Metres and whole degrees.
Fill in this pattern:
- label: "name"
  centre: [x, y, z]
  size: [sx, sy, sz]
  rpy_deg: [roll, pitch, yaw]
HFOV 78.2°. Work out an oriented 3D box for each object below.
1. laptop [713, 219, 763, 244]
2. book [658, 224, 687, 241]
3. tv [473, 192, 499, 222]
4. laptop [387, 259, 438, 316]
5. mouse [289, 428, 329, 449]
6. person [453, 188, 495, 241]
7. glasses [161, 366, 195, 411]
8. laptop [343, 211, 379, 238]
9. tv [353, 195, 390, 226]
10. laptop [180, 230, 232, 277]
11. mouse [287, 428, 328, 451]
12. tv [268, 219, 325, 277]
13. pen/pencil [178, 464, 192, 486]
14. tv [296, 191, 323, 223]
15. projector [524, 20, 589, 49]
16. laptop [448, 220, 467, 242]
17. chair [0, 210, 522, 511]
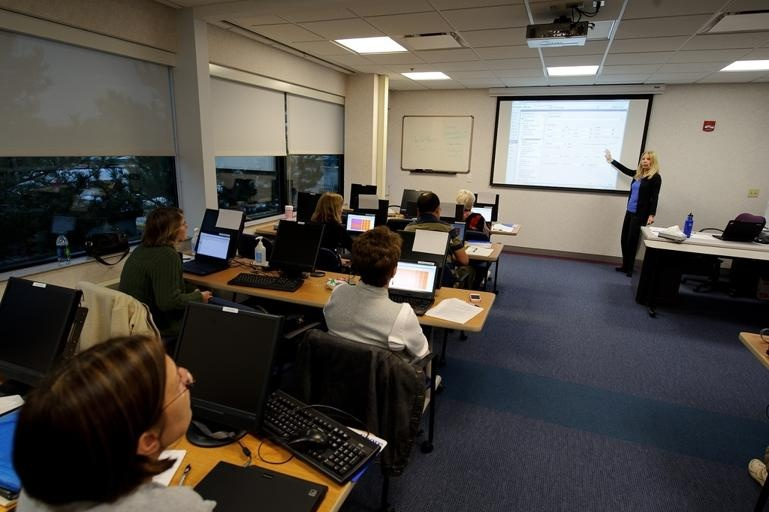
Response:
- label: "laptop"
  centre: [4.270, -0.290, 5.698]
  size: [0.342, 0.312, 0.251]
  rpy_deg: [11, 21, 17]
- label: "book"
  centre: [3.569, -0.291, 5.905]
  size: [0.318, 0.158, 0.338]
  rpy_deg: [12, 17, 34]
- label: "tv"
  centre: [1.448, -0.759, 7.160]
  size: [0.464, 0.544, 0.419]
  rpy_deg: [3, 8, 19]
- label: "laptop"
  centre: [0.254, 0.230, 4.003]
  size: [0.472, 0.351, 0.372]
  rpy_deg: [14, 26, 21]
- label: "mouse"
  centre: [-0.398, 0.982, 2.568]
  size: [0.175, 0.049, 0.094]
  rpy_deg: [3, 4, 6]
- label: "person"
  centre: [1.175, -0.577, 6.307]
  size: [0.506, 0.795, 0.615]
  rpy_deg: [9, 26, 31]
- label: "glasses"
  centre: [-0.944, 0.626, 2.219]
  size: [0.060, 0.135, 0.123]
  rpy_deg: [32, -13, -34]
- label: "laptop"
  centre: [-0.327, -0.424, 6.037]
  size: [0.494, 0.354, 0.306]
  rpy_deg: [9, 12, 25]
- label: "tv"
  centre: [-0.098, -0.475, 6.152]
  size: [0.528, 0.563, 0.374]
  rpy_deg: [1, -2, 11]
- label: "laptop"
  centre: [-1.686, -0.031, 4.625]
  size: [0.467, 0.370, 0.427]
  rpy_deg: [9, 16, 28]
- label: "mouse"
  centre: [-0.405, 0.985, 2.565]
  size: [0.182, 0.057, 0.103]
  rpy_deg: [4, 5, 10]
- label: "tv"
  centre: [-0.801, -0.057, 4.446]
  size: [0.479, 0.497, 0.051]
  rpy_deg: [12, -1, 18]
- label: "pen/pencil"
  centre: [-1.039, 1.158, 2.491]
  size: [0.025, 0.016, 0.099]
  rpy_deg: [24, 52, 4]
- label: "tv"
  centre: [-0.911, -0.596, 5.809]
  size: [0.406, 0.492, 0.049]
  rpy_deg: [15, 15, 17]
- label: "projector"
  centre: [1.747, -2.262, 4.800]
  size: [0.588, 0.198, 0.670]
  rpy_deg: [8, 15, 20]
- label: "laptop"
  centre: [0.898, -0.302, 5.753]
  size: [0.240, 0.247, 0.203]
  rpy_deg: [4, 3, 21]
- label: "chair"
  centre: [-0.817, 0.676, 3.151]
  size: [1.949, 1.281, 1.107]
  rpy_deg: [5, 5, 24]
